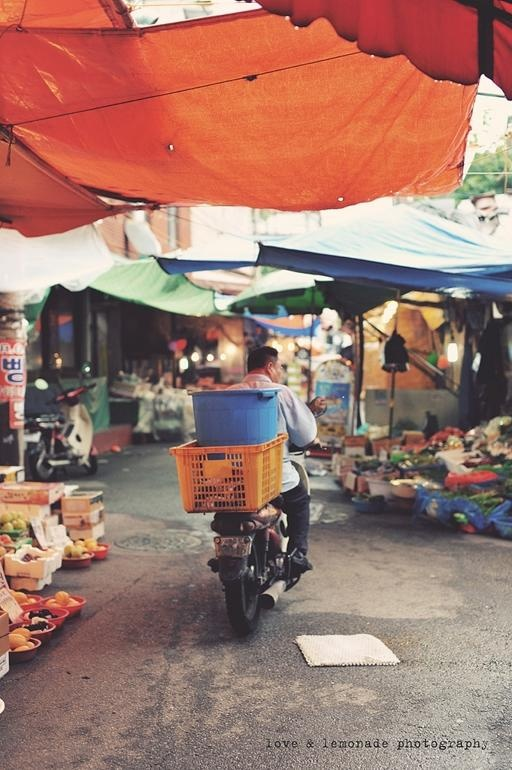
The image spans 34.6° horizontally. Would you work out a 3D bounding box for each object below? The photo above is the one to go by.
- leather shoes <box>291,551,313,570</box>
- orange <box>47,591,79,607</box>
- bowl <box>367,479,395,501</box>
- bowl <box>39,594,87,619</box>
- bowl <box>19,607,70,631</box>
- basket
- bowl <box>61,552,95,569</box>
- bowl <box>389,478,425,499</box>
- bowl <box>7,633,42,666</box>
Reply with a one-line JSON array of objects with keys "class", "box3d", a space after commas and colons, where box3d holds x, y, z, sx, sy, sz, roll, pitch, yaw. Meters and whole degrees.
[{"class": "leather shoes", "box3d": [0.337, 1.206, 5.625, 0.061, 0.102, 0.161, -30, -50, 25]}, {"class": "orange", "box3d": [-1.288, 1.454, 5.572, 0.136, 0.046, 0.127, 2, -1, 9]}, {"class": "bowl", "box3d": [1.434, 1.208, 9.441, 0.255, 0.153, 0.246, 0, -2, 0]}, {"class": "bowl", "box3d": [-1.277, 1.474, 5.515, 0.197, 0.086, 0.199, 3, -3, 0]}, {"class": "bowl", "box3d": [-1.356, 1.485, 5.202, 0.167, 0.044, 0.163, 2, 2, 0]}, {"class": "basket", "box3d": [-0.162, 0.565, 5.018, 0.632, 0.445, 0.520, -2, 1, 3]}, {"class": "bowl", "box3d": [-1.425, 1.433, 6.736, 0.186, 0.077, 0.346, -1, 1, 42]}, {"class": "bowl", "box3d": [1.670, 1.154, 9.063, 0.161, 0.226, 0.462, -3, 1, -25]}, {"class": "bowl", "box3d": [-1.364, 1.538, 4.804, 0.168, 0.055, 0.155, 0, 0, 0]}]
